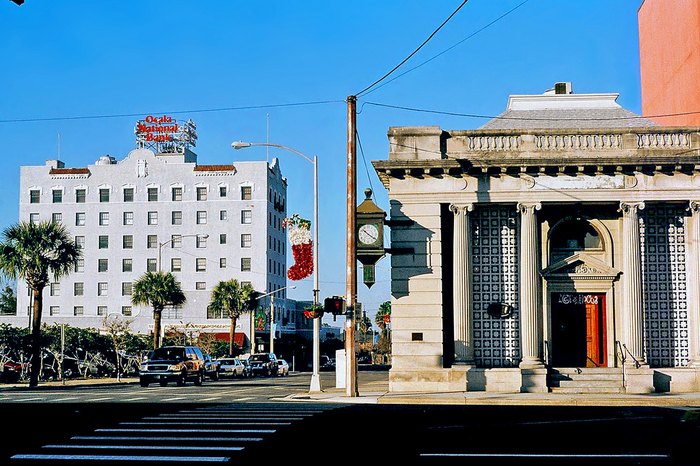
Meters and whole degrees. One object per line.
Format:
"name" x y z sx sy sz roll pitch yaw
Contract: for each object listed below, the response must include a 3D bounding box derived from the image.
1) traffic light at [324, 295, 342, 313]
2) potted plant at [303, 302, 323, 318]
"traffic light" -0.777 3.914 77.988 1.037 0.922 1.461 -1 -10 1
"potted plant" -1.932 4.352 80.770 1.007 0.765 1.258 0 -10 -2
